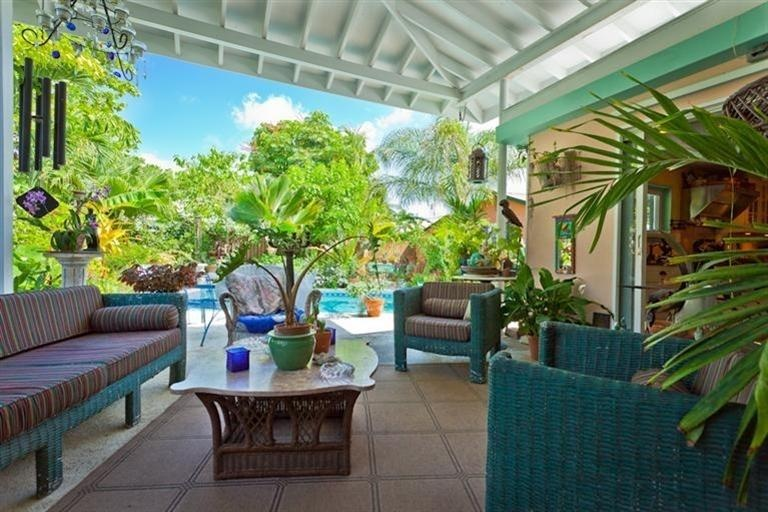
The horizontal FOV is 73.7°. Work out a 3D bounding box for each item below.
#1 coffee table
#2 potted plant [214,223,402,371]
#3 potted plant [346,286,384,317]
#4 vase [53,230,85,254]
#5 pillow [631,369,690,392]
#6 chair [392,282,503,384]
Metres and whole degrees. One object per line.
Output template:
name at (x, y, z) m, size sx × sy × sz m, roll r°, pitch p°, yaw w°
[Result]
coffee table at (-0.741, 1.152, 3.840) m, size 1.387 × 0.781 × 0.776 m, roll -1°, pitch 1°, yaw -3°
potted plant at (-0.830, 0.505, 6.365) m, size 2.208 × 1.825 × 2.215 m, roll -1°, pitch -1°, yaw 39°
potted plant at (-0.360, 0.821, 8.999) m, size 0.453 × 0.338 × 0.778 m, roll 1°, pitch -8°, yaw -5°
vase at (-3.037, -0.132, 4.942) m, size 0.236 × 0.091 × 0.241 m, roll -3°, pitch 44°, yaw -23°
pillow at (1.556, 0.701, 2.890) m, size 0.266 × 0.078 × 0.268 m, roll -3°, pitch -4°, yaw 31°
chair at (0.756, 0.762, 5.659) m, size 1.037 × 0.929 × 1.005 m, roll 2°, pitch 3°, yaw 29°
